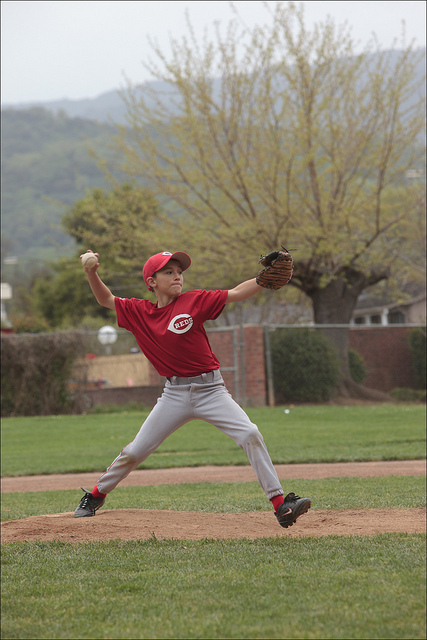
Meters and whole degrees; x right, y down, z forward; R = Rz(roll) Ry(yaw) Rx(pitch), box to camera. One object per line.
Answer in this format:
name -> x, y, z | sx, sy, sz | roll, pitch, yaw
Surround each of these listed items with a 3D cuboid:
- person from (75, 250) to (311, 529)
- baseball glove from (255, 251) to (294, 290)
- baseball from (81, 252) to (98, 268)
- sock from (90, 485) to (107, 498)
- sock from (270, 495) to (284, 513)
person -> -0.180, 0.461, 6.549 | 1.674, 1.886, 0.397 | -1, 1, 14
baseball glove -> 0.400, -0.334, 6.317 | 0.233, 0.253, 0.253 | -1, 1, 2
baseball -> -0.834, -0.404, 6.480 | 0.111, 0.095, 0.112 | 0, 7, 15
sock -> -0.835, 1.250, 6.887 | 0.059, 0.113, 0.119 | 13, -22, -38
sock -> 0.421, 1.211, 6.300 | 0.091, 0.113, 0.074 | -1, 1, 2
